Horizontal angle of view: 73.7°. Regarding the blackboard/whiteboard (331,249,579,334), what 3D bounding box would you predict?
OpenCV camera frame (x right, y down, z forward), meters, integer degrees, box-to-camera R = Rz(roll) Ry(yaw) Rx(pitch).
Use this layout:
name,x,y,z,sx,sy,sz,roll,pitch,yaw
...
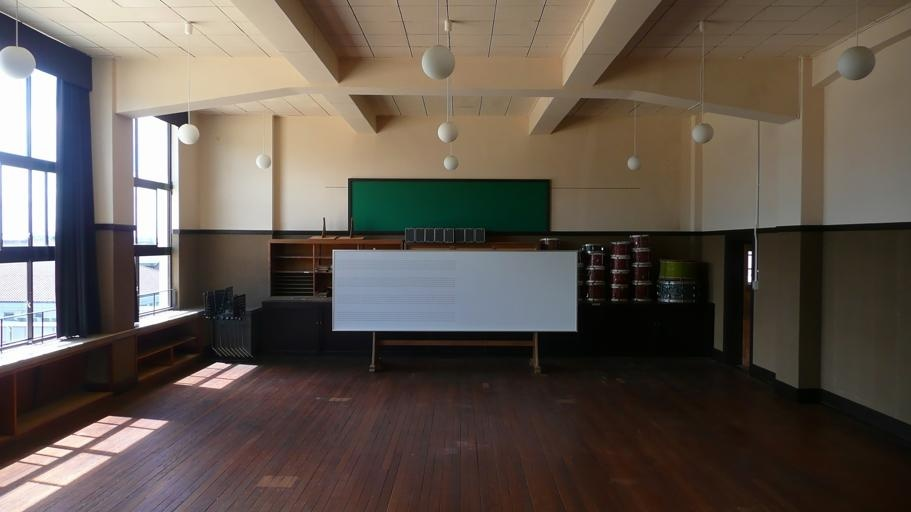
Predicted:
name,x,y,z,sx,sy,sz,roll,pitch,yaw
blackboard/whiteboard,0.081,0.589,10.965,4.510,1.596,0.062,2,-3,-12

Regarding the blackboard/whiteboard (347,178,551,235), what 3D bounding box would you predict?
name,x,y,z,sx,sy,sz,roll,pitch,yaw
blackboard/whiteboard,-0.207,-1.010,12.761,4.331,1.248,0.133,1,-1,14

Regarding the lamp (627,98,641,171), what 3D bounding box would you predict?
name,x,y,z,sx,sy,sz,roll,pitch,yaw
lamp,3.412,-2.191,11.613,0.248,1.020,0.252,7,17,25

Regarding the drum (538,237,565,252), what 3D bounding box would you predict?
name,x,y,z,sx,sy,sz,roll,pitch,yaw
drum,1.926,-0.255,12.547,0.321,0.197,0.327,0,1,0

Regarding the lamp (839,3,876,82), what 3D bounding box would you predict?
name,x,y,z,sx,sy,sz,roll,pitch,yaw
lamp,5.896,-3.168,8.966,0.384,1.303,1.828,1,5,34

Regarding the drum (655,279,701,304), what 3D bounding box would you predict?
name,x,y,z,sx,sy,sz,roll,pitch,yaw
drum,4.418,0.663,12.172,0.572,0.350,0.568,0,-1,0

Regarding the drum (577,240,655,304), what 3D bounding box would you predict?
name,x,y,z,sx,sy,sz,roll,pitch,yaw
drum,3.226,0.324,12.382,1.377,1.004,1.389,-1,-2,0

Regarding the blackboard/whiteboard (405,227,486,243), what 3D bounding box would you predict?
name,x,y,z,sx,sy,sz,roll,pitch,yaw
blackboard/whiteboard,-0.219,-0.410,12.401,1.592,0.348,0.256,-2,4,-8

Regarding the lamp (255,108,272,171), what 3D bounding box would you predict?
name,x,y,z,sx,sy,sz,roll,pitch,yaw
lamp,-3.797,-2.327,12.112,0.390,1.118,1.085,-3,4,-17

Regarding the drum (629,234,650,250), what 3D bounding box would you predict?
name,x,y,z,sx,sy,sz,roll,pitch,yaw
drum,3.690,-0.288,12.290,0.329,0.237,0.312,0,-2,0
